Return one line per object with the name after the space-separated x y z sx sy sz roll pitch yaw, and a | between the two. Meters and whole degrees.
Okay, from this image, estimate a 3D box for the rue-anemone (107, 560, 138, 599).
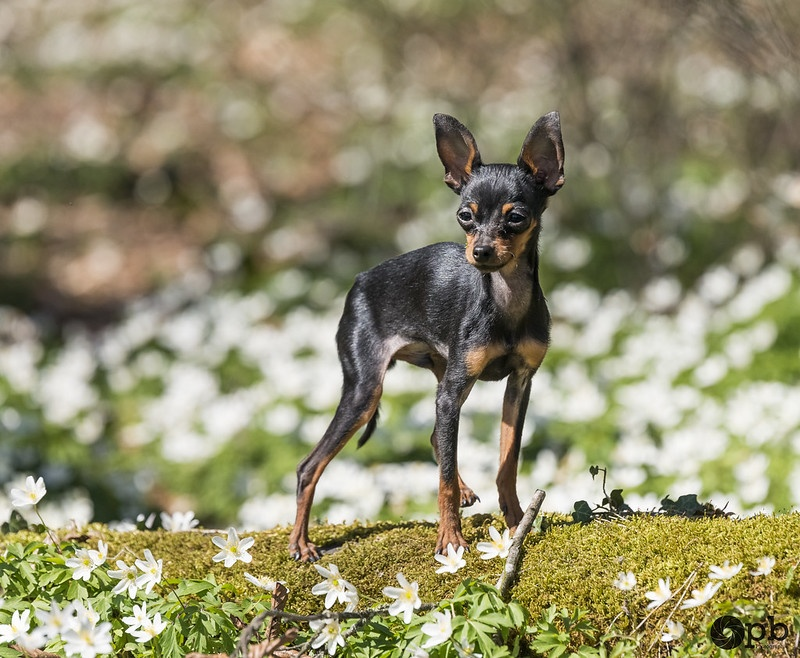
-1.423 1.297 7.522 0.151 0.199 0.273 -6 0 -11 | rue-anemone

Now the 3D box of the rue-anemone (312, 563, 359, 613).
-0.331 1.267 7.333 0.205 0.122 0.238 -35 35 -30 | rue-anemone

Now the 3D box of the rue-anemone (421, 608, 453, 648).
0.180 1.485 7.233 0.159 0.182 0.124 -6 0 -1 | rue-anemone

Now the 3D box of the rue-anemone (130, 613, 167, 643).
-1.282 1.524 7.427 0.158 0.149 0.217 -6 0 -38 | rue-anemone

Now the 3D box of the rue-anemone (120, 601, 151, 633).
-1.334 1.457 7.435 0.148 0.070 0.149 -26 29 -3 | rue-anemone

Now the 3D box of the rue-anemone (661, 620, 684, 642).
1.345 1.512 7.292 0.060 0.125 0.130 -2 -42 21 | rue-anemone

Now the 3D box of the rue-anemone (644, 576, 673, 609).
1.286 1.334 7.327 0.076 0.164 0.147 15 34 -16 | rue-anemone

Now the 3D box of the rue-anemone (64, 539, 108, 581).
-1.621 1.205 7.611 0.227 0.176 0.098 -36 -27 12 | rue-anemone

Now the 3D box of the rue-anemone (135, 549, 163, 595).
-1.243 1.201 7.385 0.174 0.062 0.167 -8 45 -39 | rue-anemone

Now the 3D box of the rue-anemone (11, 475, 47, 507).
-1.976 0.860 7.793 0.163 0.163 0.316 -6 0 -13 | rue-anemone

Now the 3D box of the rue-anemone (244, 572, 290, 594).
-0.708 1.352 7.793 0.198 0.070 0.221 6 -15 45 | rue-anemone

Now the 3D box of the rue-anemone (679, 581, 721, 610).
1.492 1.326 7.262 0.217 0.146 0.381 -6 0 11 | rue-anemone

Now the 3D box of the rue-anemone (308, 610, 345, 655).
-0.361 1.532 7.291 0.165 0.202 0.324 -6 0 -3 | rue-anemone

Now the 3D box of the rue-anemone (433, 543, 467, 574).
0.248 1.189 7.527 0.176 0.181 0.088 -5 -44 34 | rue-anemone

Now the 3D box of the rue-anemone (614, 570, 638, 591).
1.144 1.286 7.410 0.108 0.111 0.054 8 -20 37 | rue-anemone

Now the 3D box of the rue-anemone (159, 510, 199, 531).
-1.385 1.231 9.212 0.207 0.090 0.210 4 16 11 | rue-anemone

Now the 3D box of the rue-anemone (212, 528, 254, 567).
-0.846 1.104 7.442 0.207 0.207 0.289 -6 0 5 | rue-anemone
